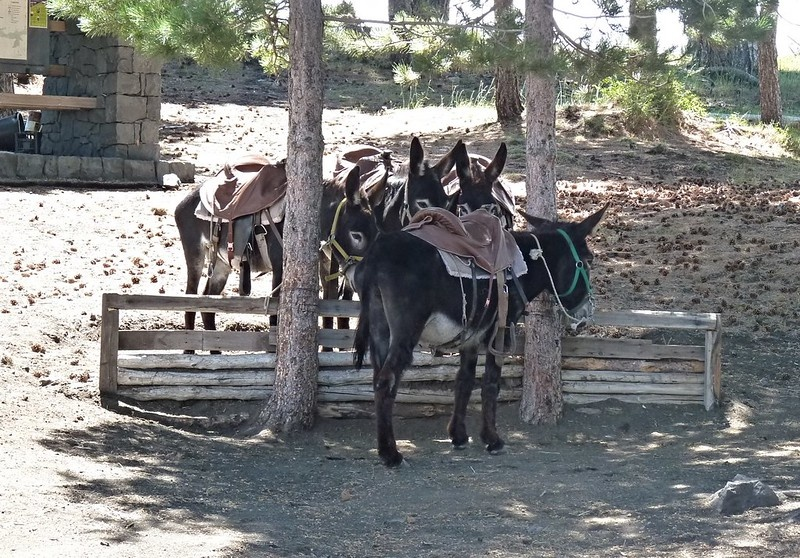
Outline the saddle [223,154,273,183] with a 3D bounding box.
[{"bbox_3d":[-2.549,-1.882,23.616,0.576,0.202,0.545,9,25,15],"label":"saddle"}]
